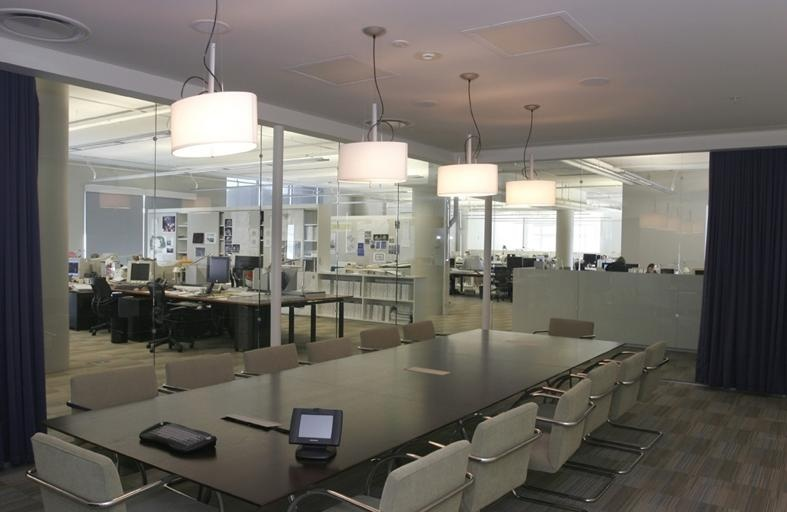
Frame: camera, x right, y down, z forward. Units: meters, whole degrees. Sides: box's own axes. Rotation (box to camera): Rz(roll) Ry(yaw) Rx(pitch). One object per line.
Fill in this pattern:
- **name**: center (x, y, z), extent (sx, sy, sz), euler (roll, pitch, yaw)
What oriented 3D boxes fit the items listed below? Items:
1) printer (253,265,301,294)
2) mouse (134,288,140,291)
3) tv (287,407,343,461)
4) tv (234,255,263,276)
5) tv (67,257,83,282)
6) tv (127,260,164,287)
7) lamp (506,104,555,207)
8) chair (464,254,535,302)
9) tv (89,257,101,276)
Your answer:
- **printer**: center (-1.819, 0.263, 8.280), extent (0.414, 0.379, 0.643), euler (3, 2, 35)
- **mouse**: center (-3.233, 0.423, 6.874), extent (0.036, 0.033, 0.035), euler (0, 2, -19)
- **tv**: center (-0.555, 1.261, 3.941), extent (0.374, 0.301, 0.319), euler (-1, -6, 6)
- **tv**: center (-2.203, 0.144, 8.273), extent (0.482, 0.288, 0.111), euler (-4, -8, 31)
- **tv**: center (-3.837, 0.151, 6.568), extent (0.128, 0.268, 0.117), euler (-2, 10, -23)
- **tv**: center (-3.149, 0.199, 6.862), extent (0.316, 0.219, 0.313), euler (1, -1, -4)
- **lamp**: center (2.141, -1.470, 8.559), extent (0.637, 1.394, 3.257), euler (4, 8, 12)
- **chair**: center (2.357, 0.435, 11.467), extent (1.405, 0.827, 0.911), euler (-2, -3, 38)
- **tv**: center (-3.646, 0.142, 6.666), extent (0.126, 0.214, 0.172), euler (-3, 9, -27)
